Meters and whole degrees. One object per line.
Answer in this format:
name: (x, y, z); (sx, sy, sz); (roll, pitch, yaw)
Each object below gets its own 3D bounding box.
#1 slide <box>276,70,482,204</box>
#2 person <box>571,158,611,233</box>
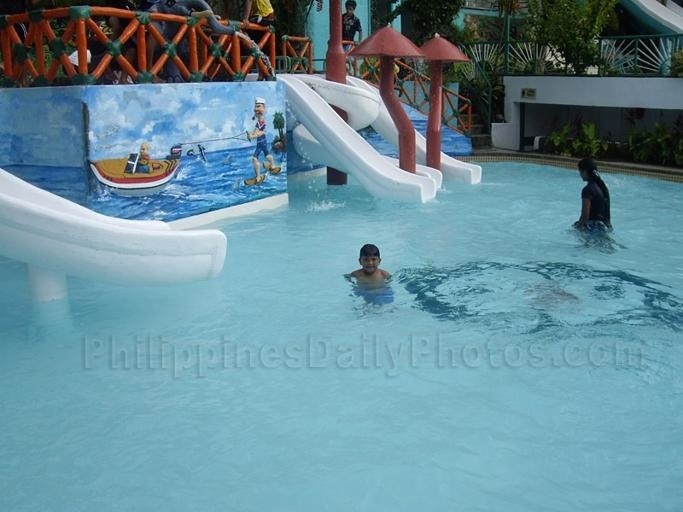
slide: (0.328, -2.286, 12.426); (3.751, 1.523, 2.734); (13, 14, 26)
person: (3.449, -0.840, 9.035); (0.483, 1.006, 0.536); (4, 17, 19)
